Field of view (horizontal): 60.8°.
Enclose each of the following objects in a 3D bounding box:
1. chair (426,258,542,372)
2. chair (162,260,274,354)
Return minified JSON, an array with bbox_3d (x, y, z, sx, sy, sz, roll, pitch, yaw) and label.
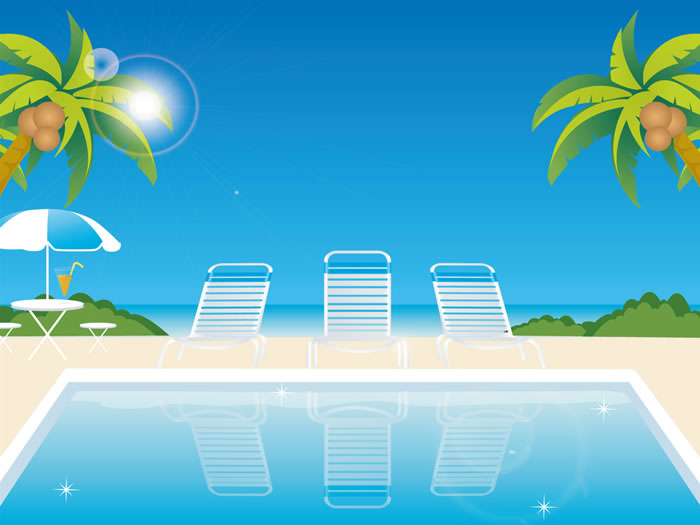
[{"bbox_3d":[1.730,0.599,8.802,1.570,2.010,1.586,-2,-12,-17],"label":"chair"},{"bbox_3d":[-1.821,0.801,8.675,1.220,1.938,1.233,3,-71,-6],"label":"chair"}]
